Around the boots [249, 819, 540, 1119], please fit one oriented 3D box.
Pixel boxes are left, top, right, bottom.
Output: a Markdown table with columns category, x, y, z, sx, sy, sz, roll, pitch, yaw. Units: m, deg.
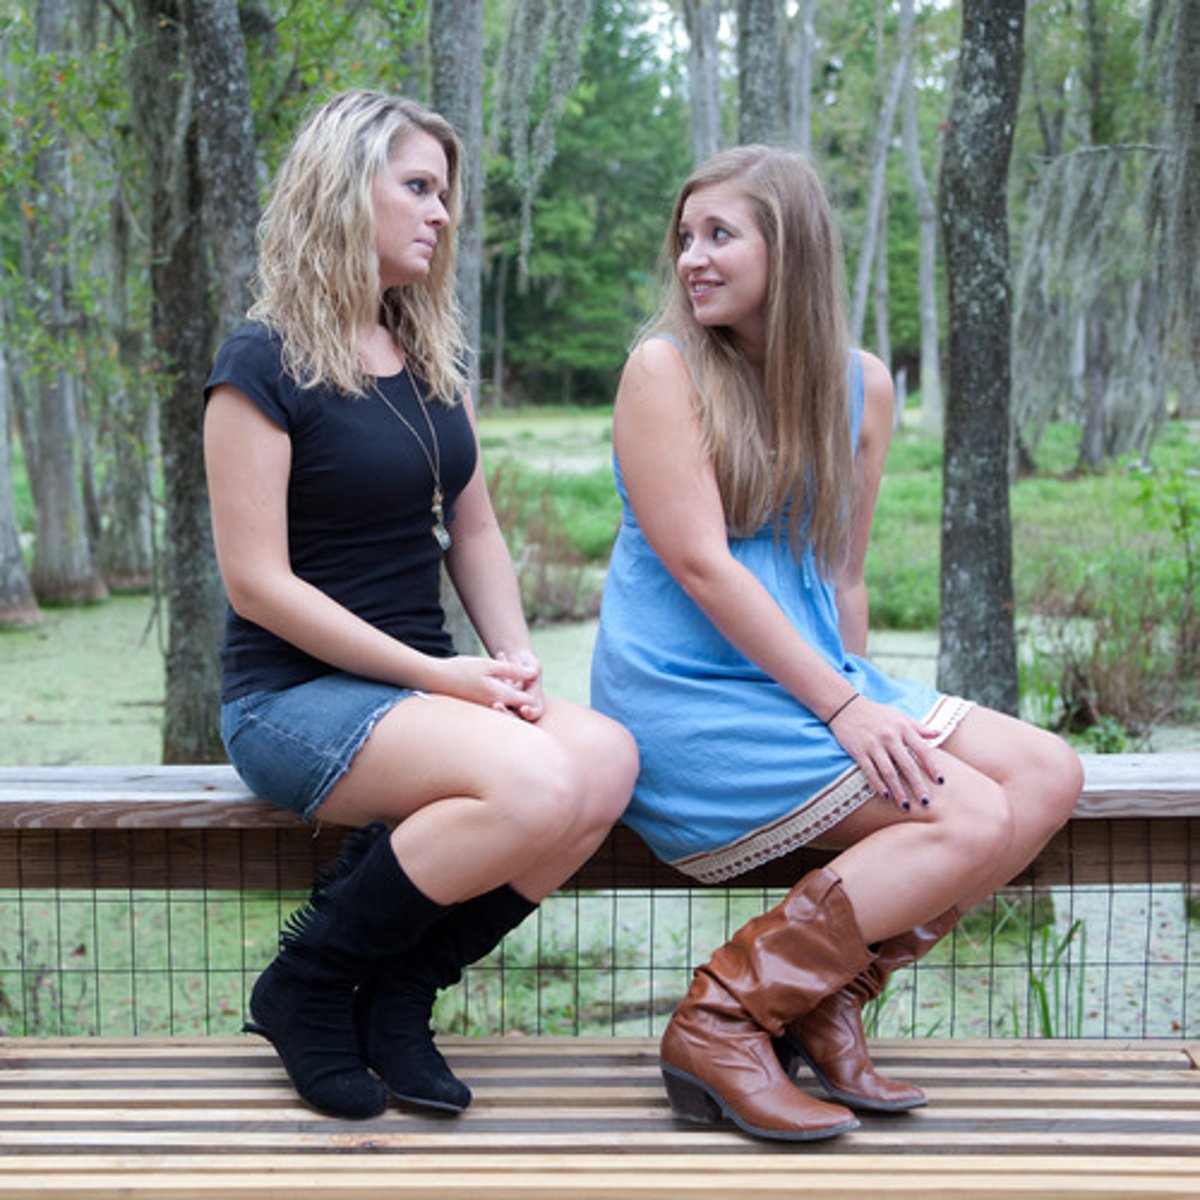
| category | x | y | z | sx | sy | sz | roll | pitch | yaw |
| --- | --- | --- | --- | --- | --- | --- | --- | --- | --- |
| boots | -0.351 | 0.604 | 3.015 | 0.465 | 0.460 | 0.194 | 0 | 6 | 7 |

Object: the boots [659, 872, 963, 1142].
| category | x | y | z | sx | sy | sz | roll | pitch | yaw |
| --- | --- | --- | --- | --- | --- | --- | --- | --- | --- |
| boots | 0.393 | 0.649 | 3.156 | 0.431 | 0.468 | 0.441 | 1 | -5 | 23 |

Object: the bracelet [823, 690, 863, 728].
| category | x | y | z | sx | sy | sz | roll | pitch | yaw |
| --- | --- | --- | --- | --- | --- | --- | --- | --- | --- |
| bracelet | 0.416 | 0.180 | 3.113 | 0.053 | 0.014 | 0.058 | -42 | 3 | 8 |
